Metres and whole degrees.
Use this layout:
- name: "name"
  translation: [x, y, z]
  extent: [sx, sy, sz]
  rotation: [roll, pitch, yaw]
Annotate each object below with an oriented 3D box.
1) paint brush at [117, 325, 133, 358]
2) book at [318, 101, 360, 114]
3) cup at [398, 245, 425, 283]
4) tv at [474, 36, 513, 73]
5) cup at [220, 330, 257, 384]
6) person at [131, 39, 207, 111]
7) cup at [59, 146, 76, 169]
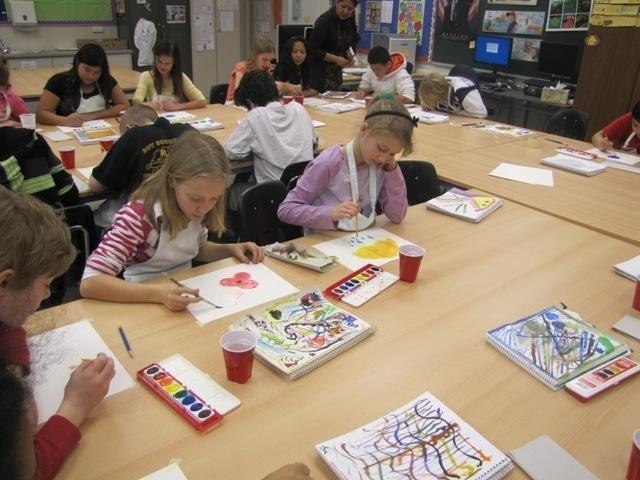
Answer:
- name: "paint brush"
  translation: [-0.608, 0.318, 1.378]
  extent: [0.013, 0.013, 0.109]
  rotation: [-20, 43, -32]
- name: "book"
  translation: [0.190, -1.375, 4.594]
  extent: [0.283, 0.031, 0.261]
  rotation: [-19, 32, -30]
- name: "cup"
  translation: [0.351, 0.090, 1.800]
  extent: [0.130, 0.136, 0.134]
  rotation: [3, 23, -1]
- name: "tv"
  translation: [2.414, -2.575, 6.113]
  extent: [0.085, 0.477, 0.649]
  rotation: [-25, 38, -33]
- name: "cup"
  translation: [-0.237, 0.326, 1.306]
  extent: [0.096, 0.124, 0.141]
  rotation: [-5, 27, -8]
- name: "person"
  translation: [-1.542, -1.483, 4.458]
  extent: [0.667, 0.910, 0.507]
  rotation: [-5, 49, -22]
- name: "cup"
  translation: [-1.574, -0.530, 2.808]
  extent: [0.132, 0.138, 0.126]
  rotation: [0, 20, 0]
